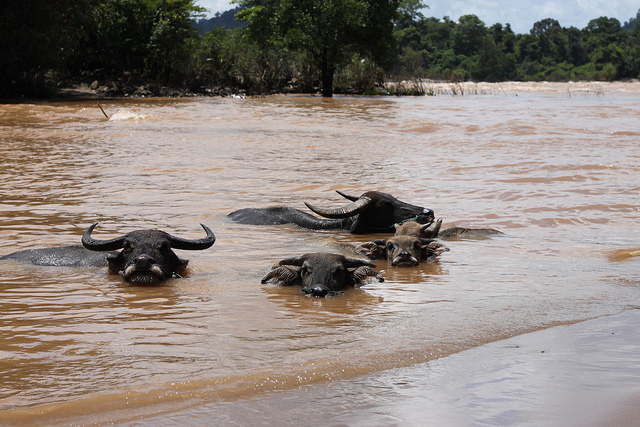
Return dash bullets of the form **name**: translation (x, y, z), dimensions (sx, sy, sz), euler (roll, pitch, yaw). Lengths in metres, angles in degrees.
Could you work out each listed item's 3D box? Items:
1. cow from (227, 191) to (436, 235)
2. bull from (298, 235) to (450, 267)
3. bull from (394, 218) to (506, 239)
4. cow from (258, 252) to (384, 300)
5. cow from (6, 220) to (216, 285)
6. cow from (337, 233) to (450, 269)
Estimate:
- **cow**: translation (0.166, 0.027, 13.975), dimensions (3.051, 0.436, 1.143), euler (0, 1, 19)
- **bull**: translation (0.881, 0.539, 12.392), dimensions (1.902, 0.407, 0.896), euler (4, 6, 40)
- **bull**: translation (1.916, 0.235, 13.172), dimensions (1.818, 0.354, 0.805), euler (-3, 6, -37)
- **cow**: translation (0.028, 0.773, 11.128), dimensions (1.731, 0.328, 1.323), euler (0, 6, -2)
- **cow**: translation (-2.823, 0.586, 11.601), dimensions (2.589, 0.818, 1.085), euler (2, -14, 27)
- **cow**: translation (1.334, 0.540, 12.426), dimensions (1.891, 0.377, 1.325), euler (-1, 6, 4)
